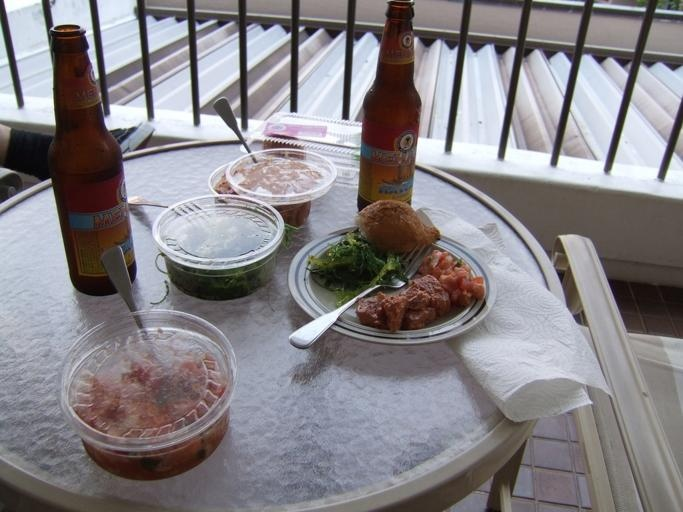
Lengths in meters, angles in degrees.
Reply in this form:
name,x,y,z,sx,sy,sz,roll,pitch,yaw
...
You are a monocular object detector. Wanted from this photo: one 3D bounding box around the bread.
name,x,y,z,sx,sy,sz,roll,pitch,yaw
bread,0.116,-0.055,1.058,0.141,0.081,0.102,8,7,-8
